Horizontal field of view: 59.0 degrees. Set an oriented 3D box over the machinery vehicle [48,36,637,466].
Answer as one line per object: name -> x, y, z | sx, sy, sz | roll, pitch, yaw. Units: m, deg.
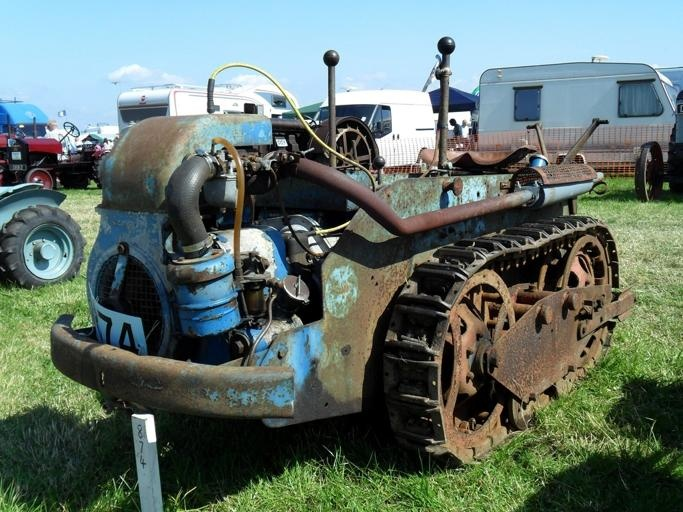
machinery vehicle -> 0.185, 0.118, 4.008 | 2.402, 2.133, 3.096 | 3, 7, 44
